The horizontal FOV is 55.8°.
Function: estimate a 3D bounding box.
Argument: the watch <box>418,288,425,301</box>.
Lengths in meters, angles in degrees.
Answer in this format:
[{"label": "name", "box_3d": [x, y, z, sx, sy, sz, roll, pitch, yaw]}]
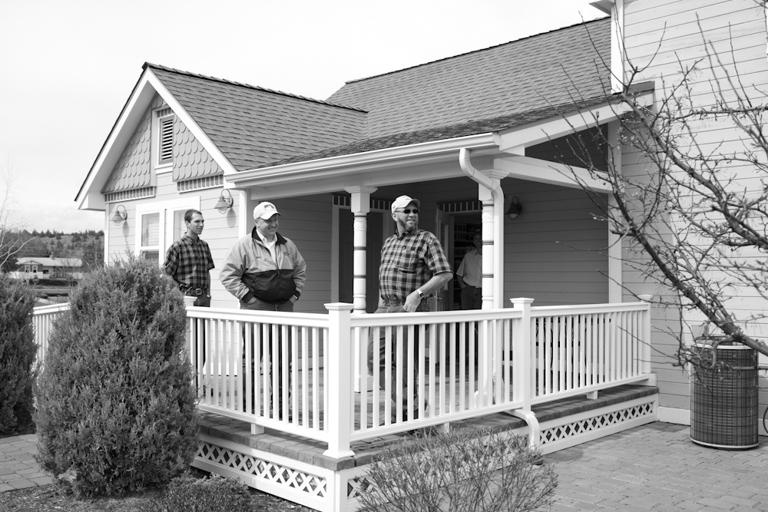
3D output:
[{"label": "watch", "box_3d": [0.464, 0.469, 8.870, 0.092, 0.114, 0.063, 2, 42, 0]}]

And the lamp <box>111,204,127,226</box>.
[{"label": "lamp", "box_3d": [-5.805, -0.928, 15.949, 0.112, 0.367, 0.582, -1, 0, -44]}]

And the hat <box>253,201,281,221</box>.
[{"label": "hat", "box_3d": [-1.550, -0.564, 9.334, 0.262, 0.184, 0.361, 0, -3, -28]}]

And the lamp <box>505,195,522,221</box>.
[{"label": "lamp", "box_3d": [2.391, -0.891, 13.489, 0.117, 0.428, 0.377, -1, 0, -38]}]
